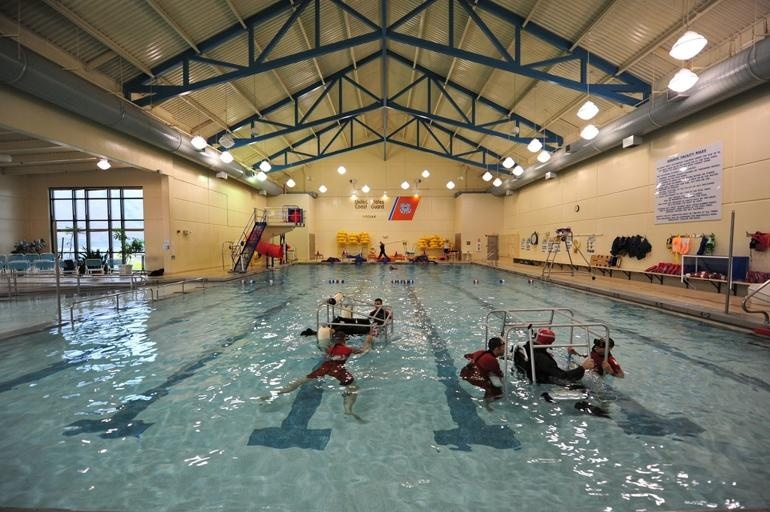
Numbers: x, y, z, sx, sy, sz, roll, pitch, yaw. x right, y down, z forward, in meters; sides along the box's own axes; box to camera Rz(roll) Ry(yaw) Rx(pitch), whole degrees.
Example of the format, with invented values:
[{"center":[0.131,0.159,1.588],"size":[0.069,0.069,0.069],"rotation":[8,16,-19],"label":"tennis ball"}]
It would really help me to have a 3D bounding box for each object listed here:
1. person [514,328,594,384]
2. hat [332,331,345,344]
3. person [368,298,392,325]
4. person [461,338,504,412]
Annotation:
[{"center":[3.076,1.919,7.463],"size":[1.553,0.879,0.982],"rotation":[9,2,-18],"label":"person"},{"center":[-0.883,1.666,8.193],"size":[0.286,0.253,0.291],"rotation":[2,13,-4],"label":"hat"},{"center":[-0.073,1.292,9.376],"size":[0.523,0.553,0.931],"rotation":[0,2,1],"label":"person"},{"center":[1.900,2.157,7.497],"size":[0.956,1.145,0.871],"rotation":[1,-3,17],"label":"person"}]
